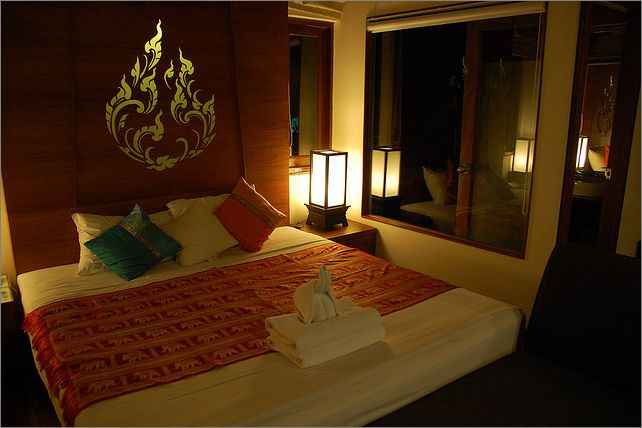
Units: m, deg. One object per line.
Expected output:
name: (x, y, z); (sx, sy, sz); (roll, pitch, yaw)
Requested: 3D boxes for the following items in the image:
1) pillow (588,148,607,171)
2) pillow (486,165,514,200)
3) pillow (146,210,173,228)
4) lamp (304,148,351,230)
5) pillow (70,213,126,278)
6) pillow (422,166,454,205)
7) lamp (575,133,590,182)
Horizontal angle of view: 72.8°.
pillow: (3.516, -0.691, 5.560); (0.102, 0.269, 0.217); (-11, 22, -23)
pillow: (1.647, -0.274, 4.053); (0.131, 0.152, 0.379); (-14, 17, -10)
pillow: (-1.412, 0.033, 3.866); (0.156, 0.044, 0.148); (41, 36, 11)
lamp: (0.056, -0.263, 4.820); (0.466, 0.839, 0.430); (-2, 20, 0)
pillow: (-1.840, 0.237, 3.533); (0.149, 0.439, 0.494); (-13, 0, 36)
pillow: (1.194, -0.283, 4.516); (0.385, 0.337, 0.111); (-11, -10, -25)
lamp: (3.319, -0.763, 5.535); (0.136, 0.441, 0.431); (10, 23, 30)
